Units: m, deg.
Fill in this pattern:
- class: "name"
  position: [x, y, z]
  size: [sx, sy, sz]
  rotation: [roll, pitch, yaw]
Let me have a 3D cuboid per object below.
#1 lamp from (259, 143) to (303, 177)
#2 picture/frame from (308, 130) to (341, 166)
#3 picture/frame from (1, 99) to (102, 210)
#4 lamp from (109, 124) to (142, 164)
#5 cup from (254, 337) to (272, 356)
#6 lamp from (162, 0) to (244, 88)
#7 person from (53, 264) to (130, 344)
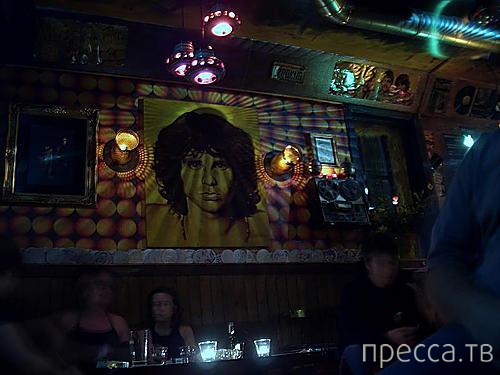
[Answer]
- class: "lamp"
  position: [0.514, -0.370, 6.817]
  size: [0.513, 0.474, 0.317]
  rotation: [-21, -8, -31]
- class: "picture/frame"
  position: [1.086, -0.568, 7.230]
  size: [0.573, 0.581, 0.105]
  rotation: [6, -30, -28]
- class: "picture/frame"
  position: [-2.487, -0.360, 5.986]
  size: [1.434, 1.522, 0.145]
  rotation: [4, -14, -20]
- class: "lamp"
  position: [-1.584, -0.542, 6.185]
  size: [0.328, 0.414, 0.104]
  rotation: [10, 10, 3]
- class: "cup"
  position: [0.114, 1.470, 4.550]
  size: [0.201, 0.214, 0.243]
  rotation: [-2, -5, 0]
- class: "lamp"
  position: [-0.581, -1.882, 6.199]
  size: [0.751, 1.057, 1.008]
  rotation: [3, -10, -38]
- class: "person"
  position: [-1.620, 1.259, 5.068]
  size: [0.465, 0.876, 0.963]
  rotation: [-16, -23, 38]
